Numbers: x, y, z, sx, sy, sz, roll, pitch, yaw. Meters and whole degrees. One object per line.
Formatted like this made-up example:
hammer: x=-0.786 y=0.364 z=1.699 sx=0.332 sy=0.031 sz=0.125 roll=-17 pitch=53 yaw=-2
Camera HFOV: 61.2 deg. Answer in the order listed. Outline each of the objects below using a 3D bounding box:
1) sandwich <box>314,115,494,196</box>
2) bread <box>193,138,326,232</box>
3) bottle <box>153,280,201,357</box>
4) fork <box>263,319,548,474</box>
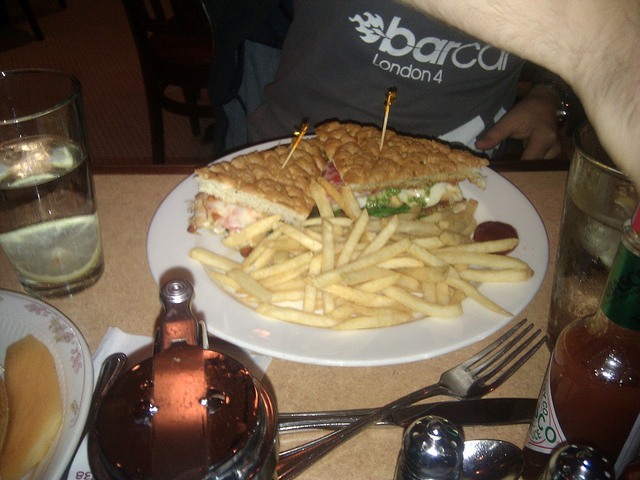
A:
sandwich: x=0.329 y=-0.270 z=2.326 sx=0.602 sy=0.138 sz=0.455 roll=9 pitch=42 yaw=-21
bread: x=-0.222 y=-0.278 z=2.179 sx=0.452 sy=0.181 sz=0.475 roll=14 pitch=44 yaw=5
bottle: x=-0.313 y=0.174 z=1.188 sx=0.086 sy=0.055 sz=0.199 roll=-1 pitch=34 yaw=-14
fork: x=0.203 y=0.407 z=1.376 sx=0.595 sy=0.074 sz=0.078 roll=-26 pitch=26 yaw=-18
